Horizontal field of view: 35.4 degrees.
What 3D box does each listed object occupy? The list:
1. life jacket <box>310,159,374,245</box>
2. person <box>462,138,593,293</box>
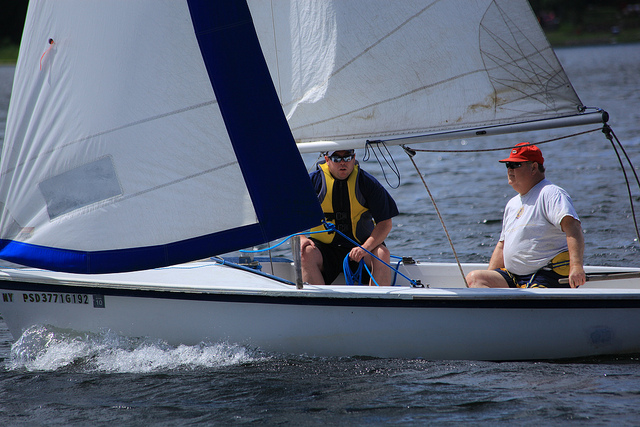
[{"bbox_3d":[0.174,-0.092,7.938,0.630,0.842,0.447,-1,4,-4],"label":"life jacket"},{"bbox_3d":[1.566,0.043,7.783,1.011,1.247,1.035,-2,-8,-36],"label":"person"}]
